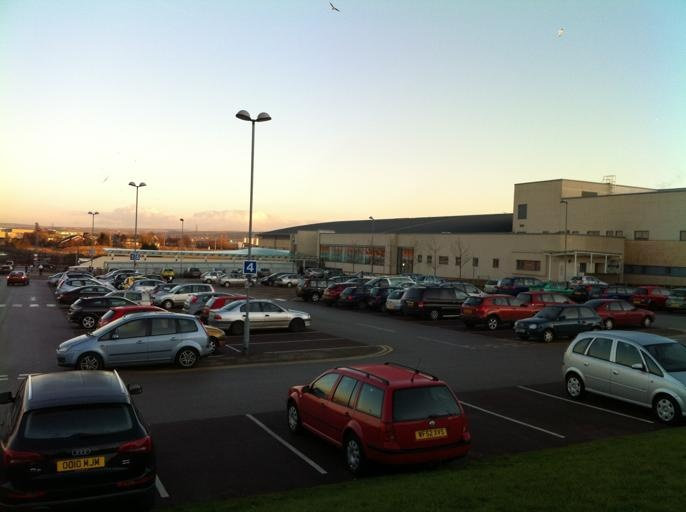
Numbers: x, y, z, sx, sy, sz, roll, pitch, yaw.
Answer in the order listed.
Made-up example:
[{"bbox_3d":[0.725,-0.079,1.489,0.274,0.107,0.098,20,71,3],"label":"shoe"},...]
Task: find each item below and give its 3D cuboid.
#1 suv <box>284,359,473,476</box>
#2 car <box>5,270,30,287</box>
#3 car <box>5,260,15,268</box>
[{"bbox_3d":[0.648,3.219,10.547,3.042,1.908,1.354,2,2,37],"label":"suv"},{"bbox_3d":[-33.125,2.357,55.581,1.478,0.892,2.982,0,5,-19],"label":"car"},{"bbox_3d":[-53.248,1.271,86.565,1.234,0.639,2.115,1,7,-18],"label":"car"}]
